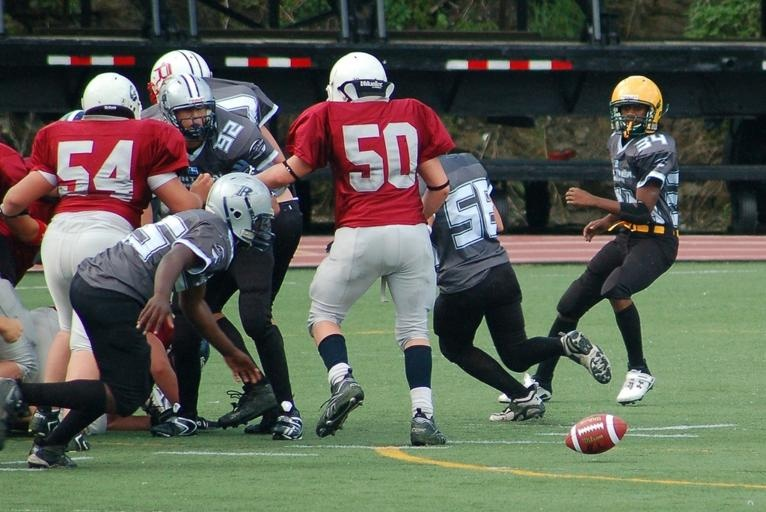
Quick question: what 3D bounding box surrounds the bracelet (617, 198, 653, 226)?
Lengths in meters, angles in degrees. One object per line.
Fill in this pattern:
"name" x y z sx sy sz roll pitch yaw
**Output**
"bracelet" 2.045 -0.351 11.678 0.220 0.102 0.172 7 -32 26
